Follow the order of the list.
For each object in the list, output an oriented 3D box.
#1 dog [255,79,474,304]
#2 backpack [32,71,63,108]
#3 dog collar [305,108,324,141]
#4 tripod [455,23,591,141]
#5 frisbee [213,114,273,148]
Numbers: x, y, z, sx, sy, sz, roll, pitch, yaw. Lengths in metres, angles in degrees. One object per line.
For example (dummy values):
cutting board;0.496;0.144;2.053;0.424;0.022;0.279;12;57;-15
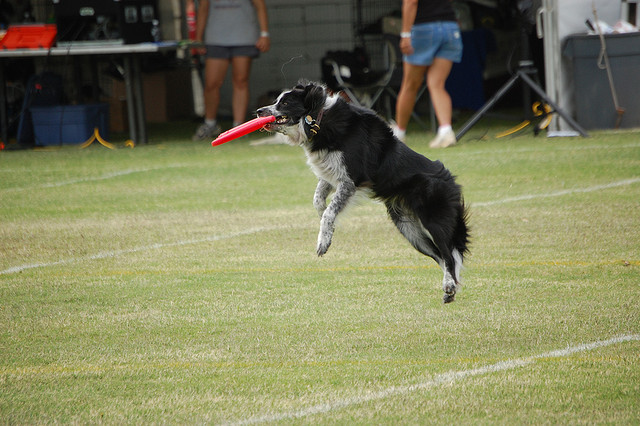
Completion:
dog;0.389;-0.169;8.739;2.191;1.425;0.733;19;-14;-25
backpack;-3.355;-1.525;12.820;0.347;0.404;0.137;6;-19;-12
dog collar;-0.037;-0.732;8.604;0.077;0.231;0.177;17;-16;-7
tripod;2.307;-1.642;12.249;1.226;1.376;1.599;0;8;3
frisbee;-0.830;-0.886;11.399;0.666;0.107;0.439;-29;7;-5
